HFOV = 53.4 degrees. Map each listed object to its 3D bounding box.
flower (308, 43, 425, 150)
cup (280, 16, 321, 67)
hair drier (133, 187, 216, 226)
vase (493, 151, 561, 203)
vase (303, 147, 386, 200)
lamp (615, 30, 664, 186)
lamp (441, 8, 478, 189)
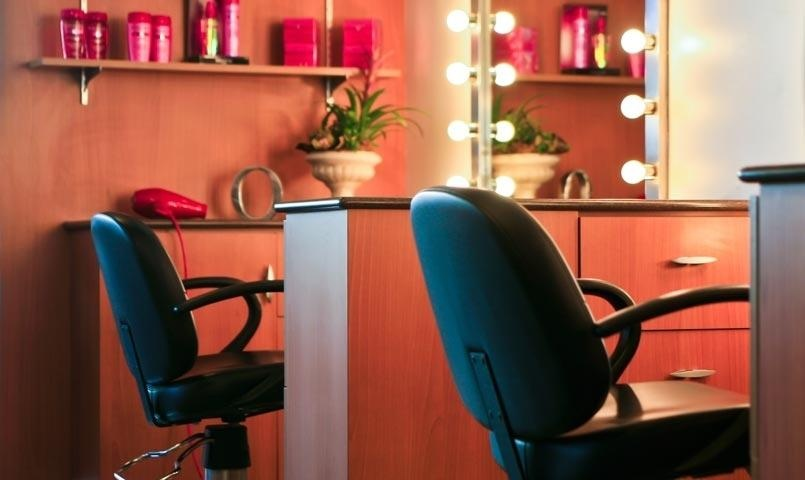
[{"bbox_3d":[-0.201,-0.648,3.803,0.526,0.377,0.506,3,-1,2],"label":"flower"},{"bbox_3d":[-0.478,-0.935,3.857,0.183,0.229,0.184,1,17,0],"label":"cup"},{"bbox_3d":[-1.045,-0.152,3.578,0.226,0.098,0.192,9,-16,-14],"label":"hair drier"},{"bbox_3d":[0.561,-0.305,3.587,0.251,0.193,0.249,1,-8,2],"label":"vase"},{"bbox_3d":[-0.282,-0.316,3.841,0.377,0.242,0.394,4,9,19],"label":"vase"},{"bbox_3d":[1.055,-0.590,3.560,0.214,0.688,0.152,-2,7,-7],"label":"lamp"},{"bbox_3d":[0.309,-0.704,3.784,0.185,0.893,0.372,-1,7,-5],"label":"lamp"}]
